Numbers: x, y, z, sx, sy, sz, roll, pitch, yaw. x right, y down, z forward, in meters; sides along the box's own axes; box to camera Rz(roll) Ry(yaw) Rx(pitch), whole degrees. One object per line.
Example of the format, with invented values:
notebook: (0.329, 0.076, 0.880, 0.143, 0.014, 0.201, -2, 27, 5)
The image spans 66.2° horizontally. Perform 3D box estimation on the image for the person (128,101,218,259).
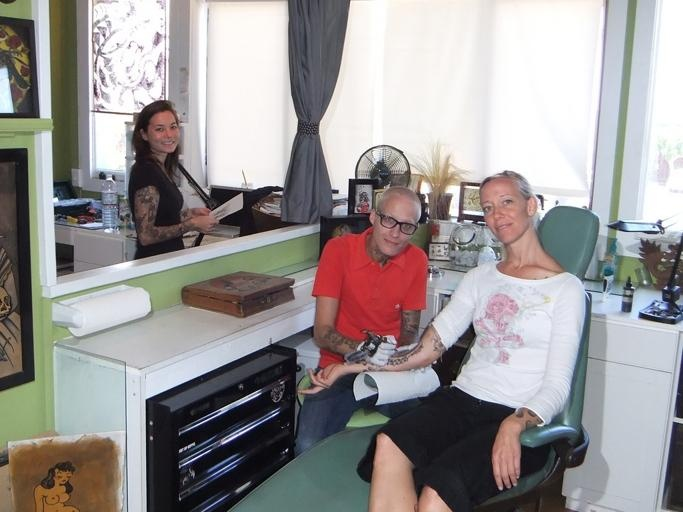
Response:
person: (-0.992, -0.450, 2.981, 0.456, 0.879, 0.542, -7, 13, -22)
